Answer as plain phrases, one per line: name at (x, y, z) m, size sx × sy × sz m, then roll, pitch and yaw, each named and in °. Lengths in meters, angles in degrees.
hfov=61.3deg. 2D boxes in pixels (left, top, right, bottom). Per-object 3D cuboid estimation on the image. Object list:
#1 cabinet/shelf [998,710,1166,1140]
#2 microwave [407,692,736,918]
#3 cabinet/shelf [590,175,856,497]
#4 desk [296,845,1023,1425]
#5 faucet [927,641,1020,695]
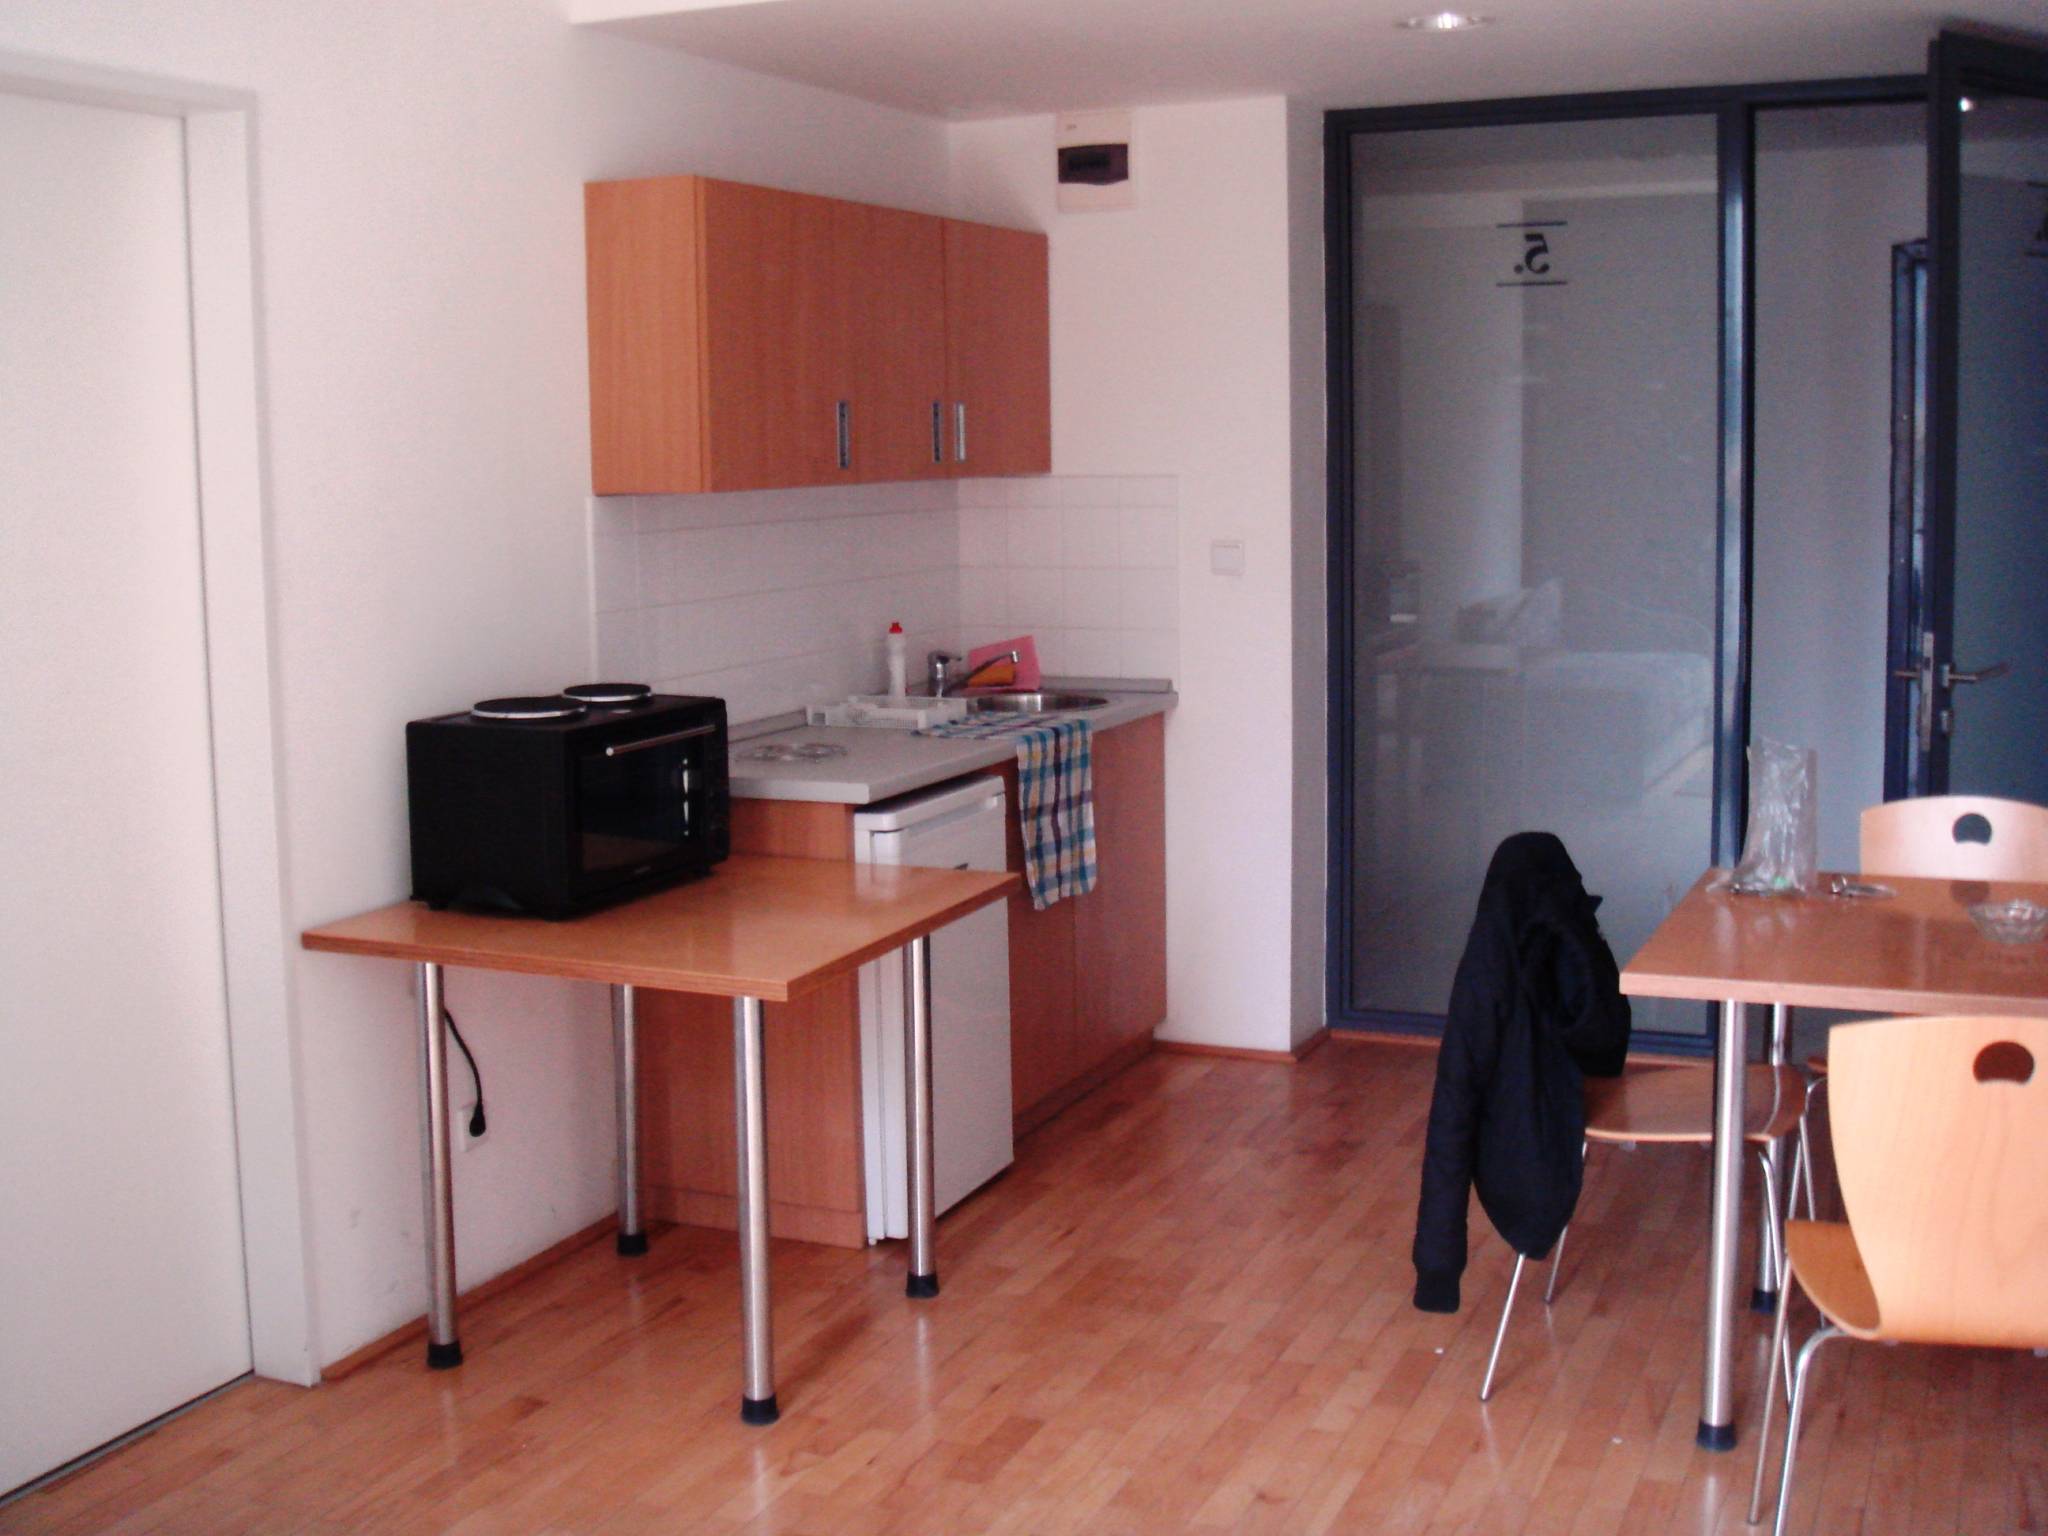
cabinet/shelf at (0.139, 0.434, 4.856) m, size 0.322 × 0.947 × 1.019 m, roll 3°, pitch 13°, yaw 29°
microwave at (-0.985, 0.064, 3.812) m, size 0.390 × 0.419 × 0.648 m, roll 5°, pitch 9°, yaw 17°
cabinet/shelf at (-0.643, -1.086, 4.342) m, size 0.425 × 0.728 × 0.806 m, roll 9°, pitch 17°, yaw 32°
desk at (-0.720, 0.544, 3.738) m, size 1.157 × 0.977 × 1.168 m, roll 2°, pitch 7°, yaw 21°
faucet at (-0.155, -0.310, 5.362) m, size 0.210 × 0.135 × 0.183 m, roll 3°, pitch 7°, yaw -4°
